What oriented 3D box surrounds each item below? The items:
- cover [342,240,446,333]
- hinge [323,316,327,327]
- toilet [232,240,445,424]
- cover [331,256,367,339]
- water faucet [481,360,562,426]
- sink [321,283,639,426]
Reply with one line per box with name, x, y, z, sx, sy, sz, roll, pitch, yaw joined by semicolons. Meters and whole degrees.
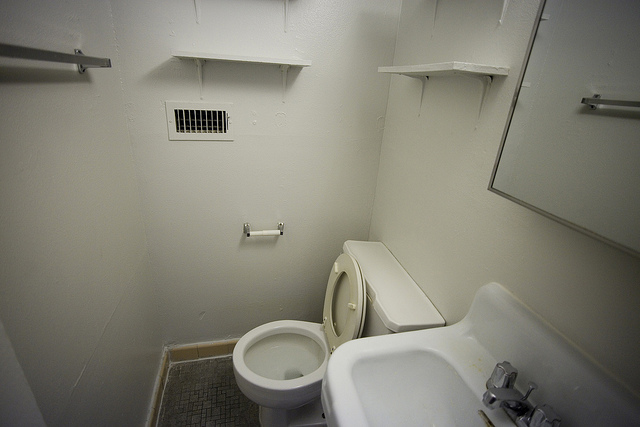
cover;0.303;0.399;2.084;0.276;0.696;0.236;1;-64;-20
hinge;0.021;0.583;2.269;0.018;0.046;0.032;5;-93;10
toilet;-0.024;0.529;2.387;1.027;0.842;1.148;-4;-56;-14
cover;0.142;0.416;2.027;0.060;0.365;0.366;13;-101;-8
water faucet;0.628;0.608;1.340;0.182;0.222;0.117;1;-56;-26
sink;0.467;0.561;1.421;0.646;0.624;0.411;-4;-59;-12
